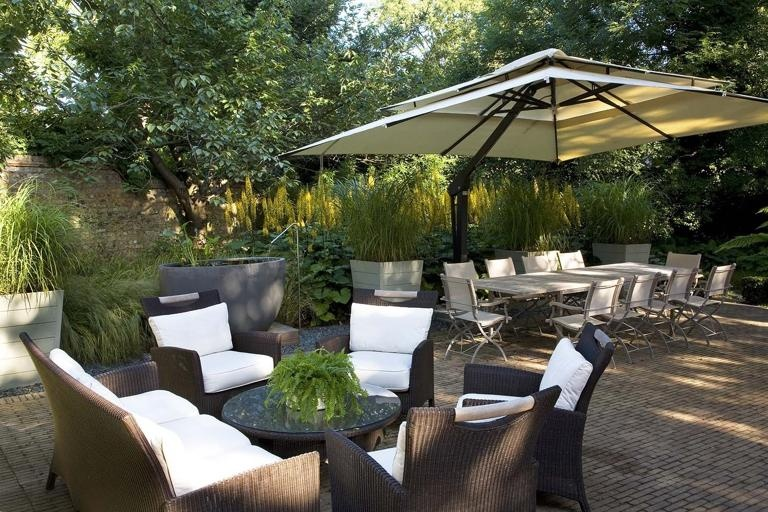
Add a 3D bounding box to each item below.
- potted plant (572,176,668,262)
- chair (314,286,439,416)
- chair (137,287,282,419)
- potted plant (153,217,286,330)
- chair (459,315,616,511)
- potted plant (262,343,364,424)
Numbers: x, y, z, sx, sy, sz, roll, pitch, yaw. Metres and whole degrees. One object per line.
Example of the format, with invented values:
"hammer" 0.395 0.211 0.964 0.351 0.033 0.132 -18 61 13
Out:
"potted plant" 4.876 -0.756 10.858 1.935 1.813 1.613 -1 0 -30
"chair" -0.033 0.995 5.237 1.048 1.087 0.895 1 10 18
"chair" -1.716 1.005 5.119 1.210 1.035 0.987 5 9 33
"potted plant" -1.946 0.440 6.637 1.291 0.758 1.232 5 4 -9
"chair" 1.332 1.230 4.494 1.445 1.636 1.228 0 -2 1
"potted plant" -0.557 1.003 4.168 0.651 0.383 0.659 8 3 -4
